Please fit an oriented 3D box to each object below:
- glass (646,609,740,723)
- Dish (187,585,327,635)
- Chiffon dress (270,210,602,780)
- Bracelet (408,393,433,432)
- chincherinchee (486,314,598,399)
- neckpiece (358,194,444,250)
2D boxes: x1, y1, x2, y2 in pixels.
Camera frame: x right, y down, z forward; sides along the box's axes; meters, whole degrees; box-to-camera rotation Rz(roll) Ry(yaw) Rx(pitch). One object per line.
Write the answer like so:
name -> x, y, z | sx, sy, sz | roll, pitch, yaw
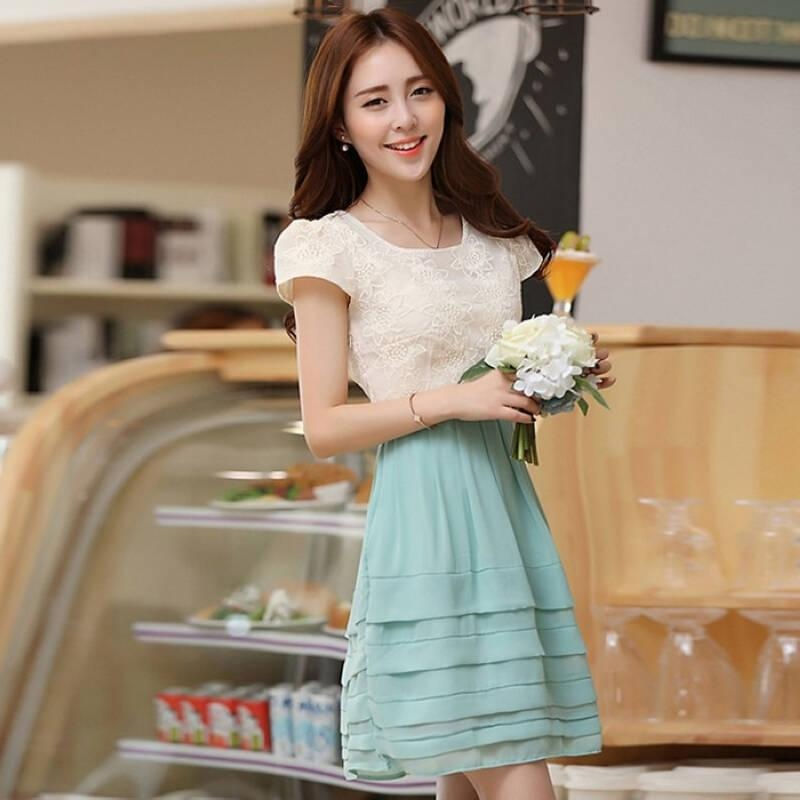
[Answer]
glass -> 0.676, 0.601, 2.328 | 0.213, 0.270, 0.149 | -3, 12, -10
Dish -> -0.346, 0.518, 2.522 | 0.228, 0.049, 0.178 | -1, -3, 11
Chiffon dress -> 0.057, 0.156, 1.576 | 0.452, 0.901, 0.427 | -3, 12, -9
Bracelet -> 0.022, 0.023, 1.491 | 0.016, 0.047, 0.046 | -34, -7, 10
chincherinchee -> 0.221, -0.061, 1.484 | 0.188, 0.126, 0.123 | -2, 10, -6
neckpiece -> 0.006, -0.288, 1.633 | 0.196, 0.021, 0.055 | 16, 14, 7
